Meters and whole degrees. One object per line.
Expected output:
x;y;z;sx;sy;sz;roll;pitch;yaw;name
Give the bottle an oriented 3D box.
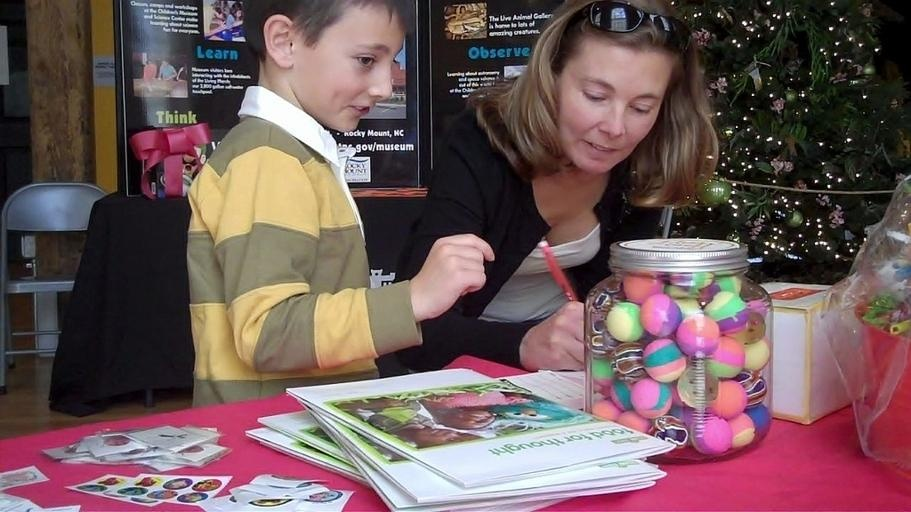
0.393;0.170;1.516;0.440;0.430;0.408;0;1;-16;bottle
